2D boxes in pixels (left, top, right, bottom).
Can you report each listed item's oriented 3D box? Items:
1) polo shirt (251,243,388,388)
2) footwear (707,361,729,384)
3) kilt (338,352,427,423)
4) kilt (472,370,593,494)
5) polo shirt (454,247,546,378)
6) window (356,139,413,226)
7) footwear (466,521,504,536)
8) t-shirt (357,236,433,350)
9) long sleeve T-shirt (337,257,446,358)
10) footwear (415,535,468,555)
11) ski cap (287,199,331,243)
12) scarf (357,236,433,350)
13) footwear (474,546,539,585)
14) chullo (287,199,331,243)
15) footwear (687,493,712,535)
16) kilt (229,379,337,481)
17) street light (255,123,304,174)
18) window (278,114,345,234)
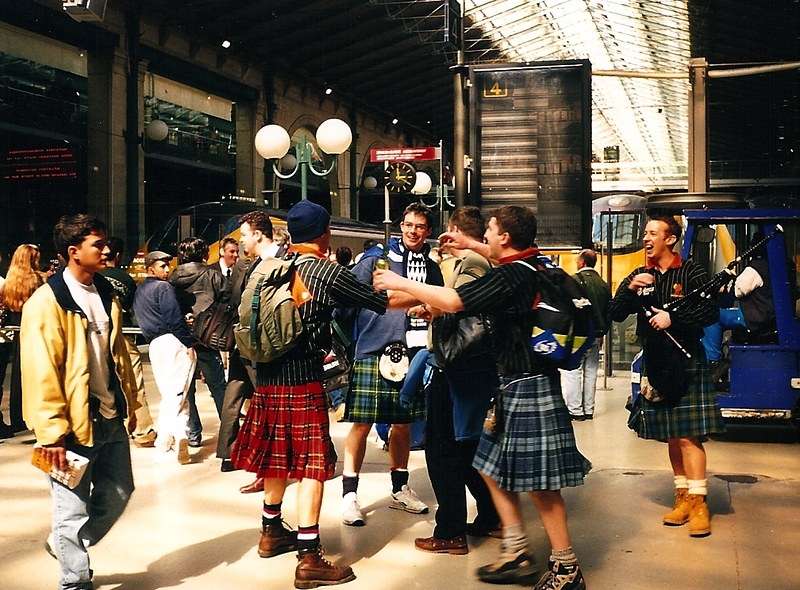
[{"bbox_3d":[-0.693,0.132,6.598,1.109,1.040,0.738,10,10,-2],"label":"polo shirt"},{"bbox_3d":[3.745,0.917,10.115,0.250,0.394,0.377,3,-8,19],"label":"footwear"},{"bbox_3d":[-0.194,0.824,7.276,0.342,0.550,0.653,-9,-15,42],"label":"kilt"},{"bbox_3d":[0.960,1.000,6.423,0.988,0.900,0.788,-1,-4,12],"label":"kilt"},{"bbox_3d":[0.738,0.118,6.327,0.691,0.916,0.835,3,8,2],"label":"polo shirt"},{"bbox_3d":[-0.022,-2.019,16.925,1.458,1.766,0.269,0,-11,27],"label":"window"},{"bbox_3d":[0.683,1.878,6.937,0.290,0.125,0.103,4,-2,11],"label":"footwear"},{"bbox_3d":[-0.039,0.022,6.837,0.923,0.756,0.326,4,-10,3],"label":"t-shirt"},{"bbox_3d":[-0.048,0.103,6.715,0.820,0.867,0.345,4,-9,-11],"label":"long sleeve T-shirt"},{"bbox_3d":[0.320,1.913,6.690,0.378,0.161,0.150,4,-5,8],"label":"footwear"},{"bbox_3d":[-0.649,-0.560,6.393,0.248,0.262,0.345,14,41,25],"label":"ski cap"},{"bbox_3d":[-0.039,0.022,6.837,0.923,0.756,0.326,4,-10,3],"label":"scarf"},{"bbox_3d":[0.779,1.967,6.201,0.511,0.234,0.181,0,-7,4],"label":"footwear"},{"bbox_3d":[-0.672,-0.558,6.383,0.248,0.262,0.345,14,41,25],"label":"chullo"},{"bbox_3d":[2.410,1.765,6.921,0.182,0.305,0.262,2,8,19],"label":"footwear"},{"bbox_3d":[-0.799,0.949,6.415,0.816,0.756,0.560,-4,-1,13],"label":"kilt"},{"bbox_3d":[-1.869,-2.117,12.676,0.435,0.806,1.975,-1,8,-8],"label":"street light"},{"bbox_3d":[-1.398,-1.784,12.567,1.552,1.487,0.563,-2,-1,20],"label":"window"}]
